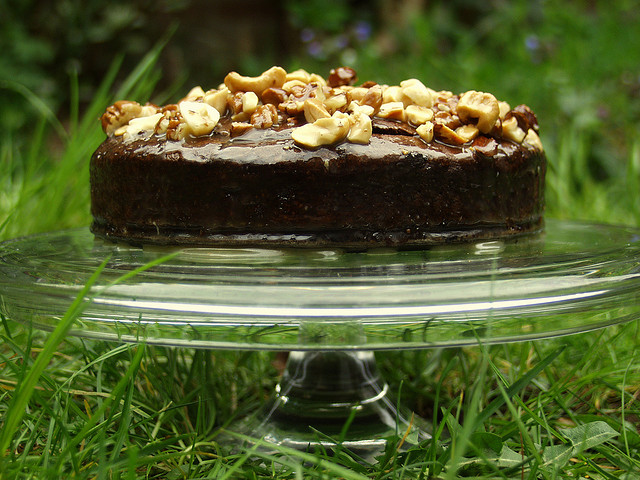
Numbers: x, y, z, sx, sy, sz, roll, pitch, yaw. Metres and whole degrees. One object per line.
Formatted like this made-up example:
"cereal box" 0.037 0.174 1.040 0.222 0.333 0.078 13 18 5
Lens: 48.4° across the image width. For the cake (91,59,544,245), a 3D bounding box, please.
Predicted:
"cake" -0.036 -0.151 1.349 0.610 0.153 0.556 1 3 27
